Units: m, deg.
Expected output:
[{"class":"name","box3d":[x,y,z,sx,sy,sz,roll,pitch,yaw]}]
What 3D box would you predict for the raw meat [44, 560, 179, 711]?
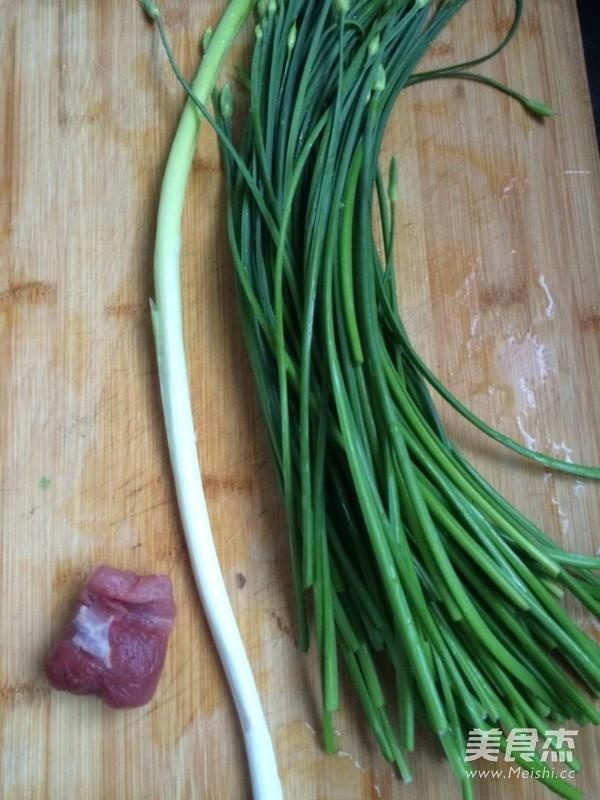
[{"class":"raw meat","box3d":[-0.210,0.269,1.068,0.099,0.052,0.196,5,80,1]}]
